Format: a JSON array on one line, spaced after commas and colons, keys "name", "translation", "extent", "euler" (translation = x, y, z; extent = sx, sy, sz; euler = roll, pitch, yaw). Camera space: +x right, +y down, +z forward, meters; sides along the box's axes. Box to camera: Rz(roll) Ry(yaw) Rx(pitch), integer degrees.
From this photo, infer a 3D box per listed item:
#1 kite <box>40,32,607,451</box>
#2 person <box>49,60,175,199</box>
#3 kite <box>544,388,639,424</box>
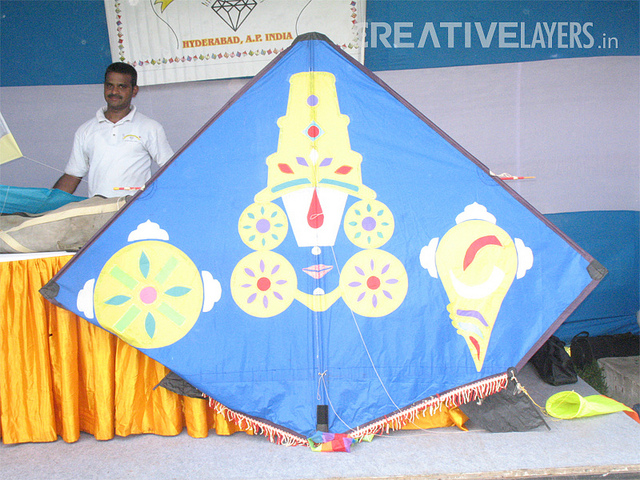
[{"name": "kite", "translation": [0.087, 0.065, 5.565], "extent": [1.879, 1.668, 0.095], "euler": [3, -1, -3]}, {"name": "person", "translation": [-1.205, -0.613, 6.084], "extent": [0.823, 0.859, 0.283], "euler": [-3, -13, -3]}, {"name": "kite", "translation": [1.471, 0.896, 5.596], "extent": [0.362, 0.233, 0.224], "euler": [1, -7, -20]}]
